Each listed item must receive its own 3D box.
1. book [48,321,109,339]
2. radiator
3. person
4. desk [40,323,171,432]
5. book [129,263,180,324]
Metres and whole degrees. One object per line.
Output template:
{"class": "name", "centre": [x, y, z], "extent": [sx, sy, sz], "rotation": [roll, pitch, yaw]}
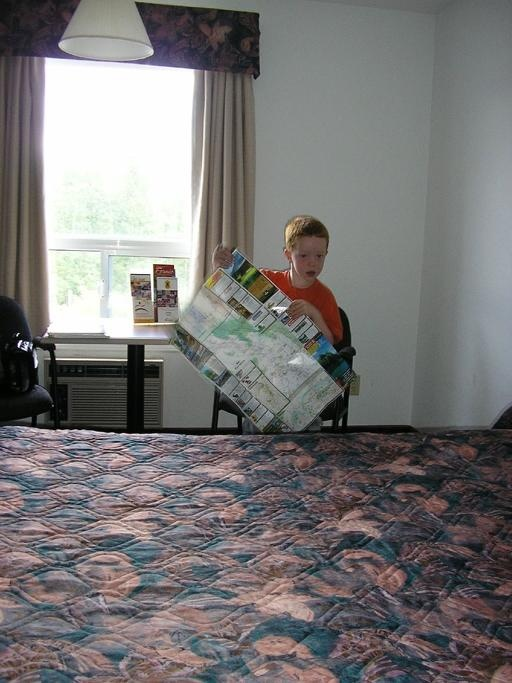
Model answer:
{"class": "book", "centre": [-0.824, -0.052, 2.628], "extent": [0.243, 0.052, 0.362], "rotation": [1, 7, -17]}
{"class": "radiator", "centre": [-0.844, 0.255, 3.307], "extent": [0.667, 0.391, 0.379], "rotation": [2, 14, -9]}
{"class": "person", "centre": [0.076, -0.047, 1.864], "extent": [0.400, 0.730, 0.329], "rotation": [4, 6, 9]}
{"class": "desk", "centre": [-0.664, 0.148, 2.808], "extent": [0.584, 0.533, 0.556], "rotation": [0, 12, -4]}
{"class": "book", "centre": [-0.524, -0.243, 2.943], "extent": [0.240, 0.298, 0.104], "rotation": [1, 7, -12]}
